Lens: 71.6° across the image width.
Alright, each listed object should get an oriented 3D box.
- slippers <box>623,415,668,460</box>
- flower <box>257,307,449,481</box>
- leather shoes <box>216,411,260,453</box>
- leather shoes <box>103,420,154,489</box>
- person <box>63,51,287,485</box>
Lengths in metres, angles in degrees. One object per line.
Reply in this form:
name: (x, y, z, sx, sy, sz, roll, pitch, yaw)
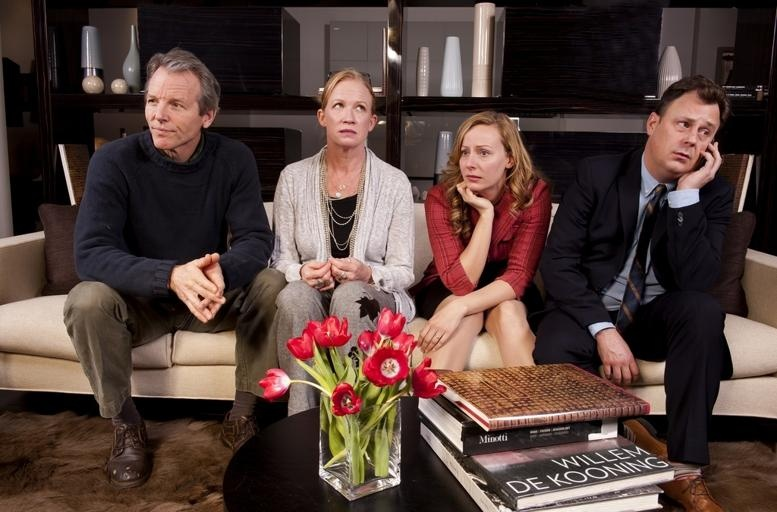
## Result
slippers: (0.966, 0.681, 2.035, 0.161, 0.035, 0.106, 21, 16, 35)
flower: (-0.059, 0.340, 1.590, 0.481, 0.442, 0.464, -2, 0, -38)
leather shoes: (-0.629, 0.732, 2.244, 0.095, 0.111, 0.297, 7, -4, 44)
leather shoes: (-1.040, 0.765, 2.165, 0.165, 0.138, 0.381, 4, 12, -28)
person: (-0.883, -0.013, 2.236, 0.859, 1.644, 0.748, -9, 19, -31)
